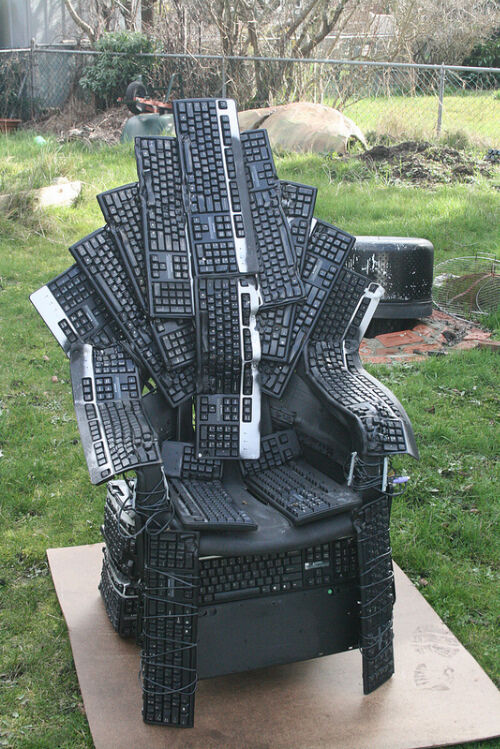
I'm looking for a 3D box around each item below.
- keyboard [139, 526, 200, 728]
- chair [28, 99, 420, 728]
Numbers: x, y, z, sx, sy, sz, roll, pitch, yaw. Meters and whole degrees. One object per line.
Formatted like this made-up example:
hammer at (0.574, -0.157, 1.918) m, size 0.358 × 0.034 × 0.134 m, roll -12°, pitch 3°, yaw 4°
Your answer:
keyboard at (-0.213, 0.669, 1.904) m, size 0.170 × 0.532 × 0.167 m, roll -1°, pitch 19°, yaw 3°
chair at (-0.031, 0.019, 2.226) m, size 1.121 × 1.704 × 1.079 m, roll -7°, pitch 19°, yaw -16°
